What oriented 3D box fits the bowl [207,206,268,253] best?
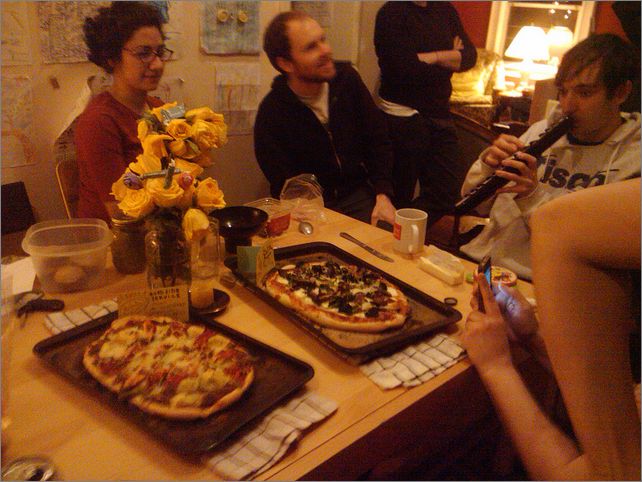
[{"bbox_3d":[-0.307,-0.069,1.760,0.178,0.123,0.180,2,25,-1],"label":"bowl"}]

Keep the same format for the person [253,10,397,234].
[{"bbox_3d":[-0.028,-0.556,3.122,0.764,1.652,0.646,-9,19,-32],"label":"person"}]

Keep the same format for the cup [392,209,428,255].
[{"bbox_3d":[0.333,-0.050,1.906,0.142,0.171,0.223,5,15,4],"label":"cup"}]

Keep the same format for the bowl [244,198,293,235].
[{"bbox_3d":[-0.213,-0.128,2.019,0.158,0.152,0.156,0,18,0],"label":"bowl"}]

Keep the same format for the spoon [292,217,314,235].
[{"bbox_3d":[-0.057,-0.064,2.021,0.052,0.038,0.063,1,28,-10],"label":"spoon"}]

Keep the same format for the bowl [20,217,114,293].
[{"bbox_3d":[-0.829,0.043,1.597,0.262,0.177,0.264,4,18,-1],"label":"bowl"}]

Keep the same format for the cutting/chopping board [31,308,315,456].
[{"bbox_3d":[-0.380,0.232,1.208,0.577,0.256,0.479,-6,22,-28],"label":"cutting/chopping board"}]

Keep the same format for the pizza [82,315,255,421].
[{"bbox_3d":[-0.391,0.284,1.273,0.419,0.186,0.360,-2,20,-18],"label":"pizza"}]
